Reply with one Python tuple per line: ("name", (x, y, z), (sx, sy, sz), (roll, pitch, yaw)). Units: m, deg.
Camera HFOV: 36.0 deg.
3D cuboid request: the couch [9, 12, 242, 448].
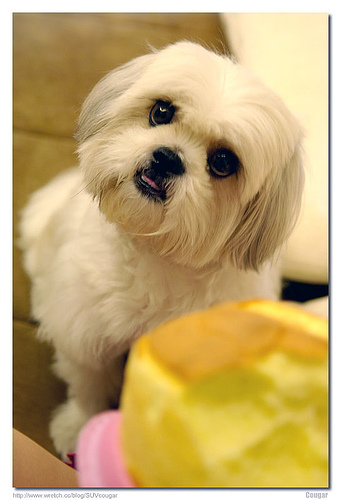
("couch", (-0.278, -0.318, 2.031), (1.089, 0.350, 1.421), (-1, 83, 0))
